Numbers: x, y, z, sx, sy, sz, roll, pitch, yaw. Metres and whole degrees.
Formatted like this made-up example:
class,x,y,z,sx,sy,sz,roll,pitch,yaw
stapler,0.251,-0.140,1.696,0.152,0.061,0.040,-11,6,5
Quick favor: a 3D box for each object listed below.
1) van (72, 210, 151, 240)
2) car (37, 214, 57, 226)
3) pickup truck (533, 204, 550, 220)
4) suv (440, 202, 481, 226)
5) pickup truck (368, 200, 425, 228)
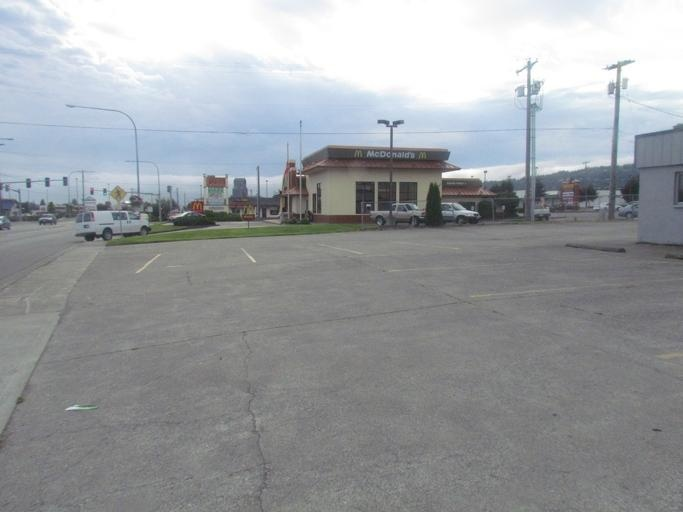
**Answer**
class,x,y,z,sx,sy,sz,roll,pitch,yaw
van,-14.976,-2.084,34.878,1.604,2.239,4.454,3,14,24
car,-39.785,-4.852,72.225,1.710,1.447,2.993,-1,0,-22
pickup truck,18.796,-4.078,50.329,1.099,0.960,2.439,-2,2,11
suv,8.885,-3.164,40.540,3.123,1.472,1.478,1,4,40
pickup truck,4.366,-3.123,40.428,3.361,1.516,1.906,0,5,28
